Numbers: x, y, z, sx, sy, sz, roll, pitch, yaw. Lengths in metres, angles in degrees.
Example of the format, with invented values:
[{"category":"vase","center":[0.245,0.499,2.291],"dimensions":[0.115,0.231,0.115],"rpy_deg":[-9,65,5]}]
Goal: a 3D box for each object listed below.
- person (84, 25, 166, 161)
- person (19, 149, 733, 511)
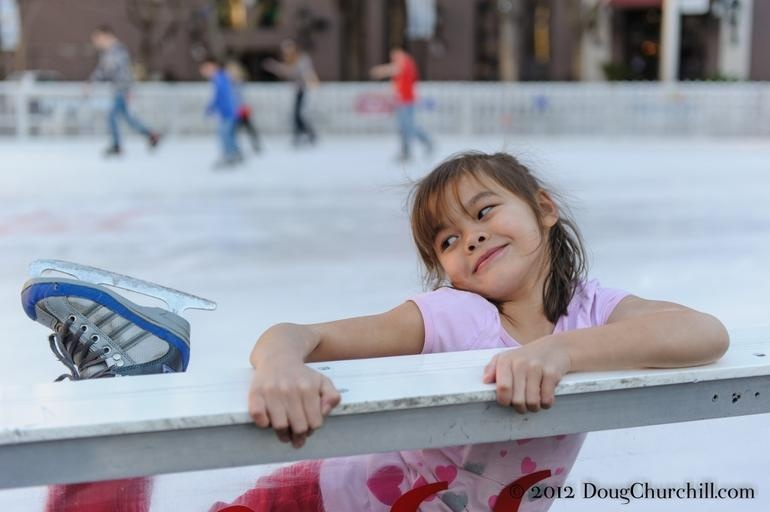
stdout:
[{"category":"person","center":[-2.976,-1.832,11.157],"dimensions":[1.073,0.445,1.811],"rpy_deg":[-15,-24,-19]},{"category":"person","center":[0.028,0.204,3.277],"dimensions":[2.039,1.251,0.721],"rpy_deg":[1,-14,-4]}]
